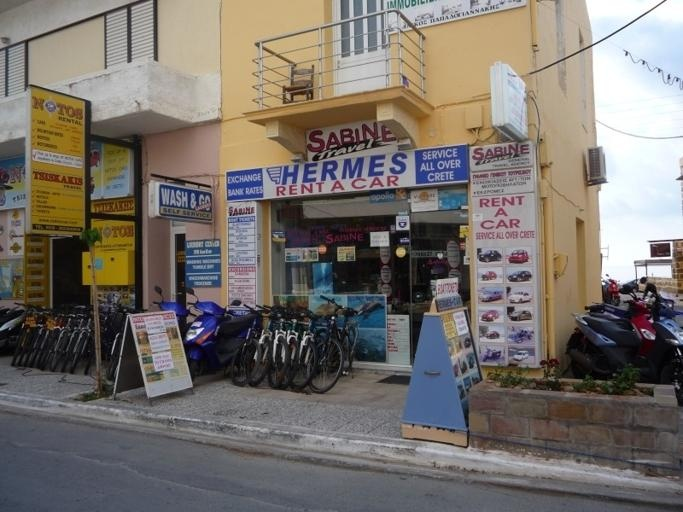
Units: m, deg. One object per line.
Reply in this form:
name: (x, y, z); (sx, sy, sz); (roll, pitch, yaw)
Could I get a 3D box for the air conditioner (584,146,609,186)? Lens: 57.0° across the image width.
air conditioner: (6.121, -2.154, 15.047); (0.477, 0.915, 1.205); (1, 6, 22)

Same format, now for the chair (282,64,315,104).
chair: (-0.858, -3.335, 12.133); (0.630, 0.823, 1.087); (-1, 5, -5)

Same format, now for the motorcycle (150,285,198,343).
motorcycle: (-3.163, 1.028, 11.450); (0.775, 0.906, 1.336); (6, -10, -9)

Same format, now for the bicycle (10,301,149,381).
bicycle: (-5.553, 1.684, 12.838); (3.393, 1.385, 0.931); (2, 6, 30)

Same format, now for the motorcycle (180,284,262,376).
motorcycle: (-2.247, 1.458, 11.659); (1.019, 1.521, 2.069); (5, 4, 30)
